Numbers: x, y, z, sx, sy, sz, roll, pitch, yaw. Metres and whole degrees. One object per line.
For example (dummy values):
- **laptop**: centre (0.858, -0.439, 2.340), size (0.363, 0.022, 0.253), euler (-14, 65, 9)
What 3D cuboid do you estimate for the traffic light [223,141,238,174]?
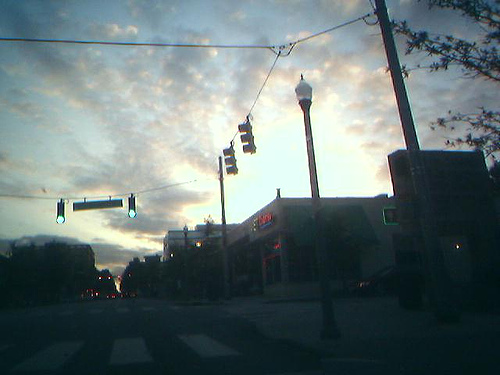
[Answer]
- **traffic light**: centre (-0.748, -1.157, 15.735), size (0.483, 1.331, 0.987), euler (-1, -14, -3)

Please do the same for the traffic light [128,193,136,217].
- **traffic light**: centre (-5.672, 0.847, 19.558), size (0.257, 1.264, 0.806), euler (3, -14, -21)

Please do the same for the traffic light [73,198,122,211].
- **traffic light**: centre (-7.327, 0.847, 19.236), size (2.265, 0.444, 0.887), euler (-7, -15, 16)

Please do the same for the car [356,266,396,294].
- **car**: centre (7.541, 5.469, 24.038), size (2.101, 1.117, 1.239), euler (6, -19, -18)

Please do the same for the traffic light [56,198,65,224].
- **traffic light**: centre (-8.589, 1.106, 18.423), size (0.321, 0.951, 0.217), euler (8, -17, -36)

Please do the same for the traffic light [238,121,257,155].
- **traffic light**: centre (-0.075, -1.768, 14.517), size (0.463, 1.224, 0.306), euler (-6, -20, -12)
